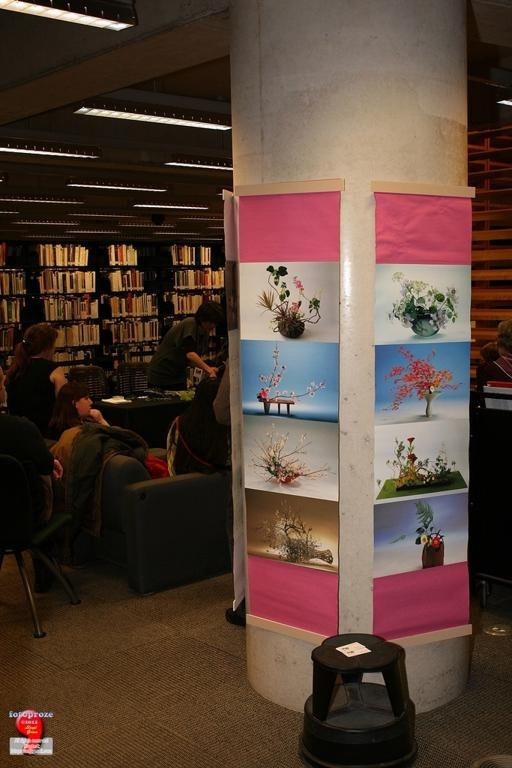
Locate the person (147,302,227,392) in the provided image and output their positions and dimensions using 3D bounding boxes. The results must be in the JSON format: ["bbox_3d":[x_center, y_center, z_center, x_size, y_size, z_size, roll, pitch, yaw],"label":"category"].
[{"bbox_3d":[-1.048,-0.544,8.142,0.924,0.769,1.646,7,-28,-6],"label":"person"}]

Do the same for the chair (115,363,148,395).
[{"bbox_3d":[-1.835,-0.069,8.779,0.490,0.693,0.549,0,5,-15],"label":"chair"}]

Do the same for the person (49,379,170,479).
[{"bbox_3d":[-1.016,0.250,4.163,0.713,0.323,0.700,11,-1,-26],"label":"person"}]

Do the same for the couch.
[{"bbox_3d":[-0.713,0.823,3.955,0.707,0.850,0.924,-4,1,-42],"label":"couch"}]
